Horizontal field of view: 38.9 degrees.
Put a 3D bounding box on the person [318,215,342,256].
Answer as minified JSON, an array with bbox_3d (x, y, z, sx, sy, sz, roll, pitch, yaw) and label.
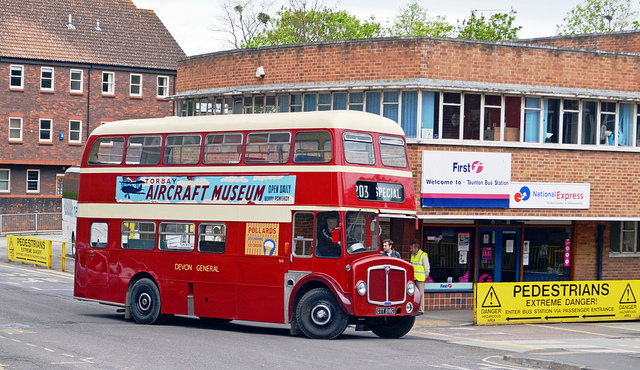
[{"bbox_3d":[0.348,1.953,34.834,0.958,1.518,0.217,4,7,24],"label":"person"}]

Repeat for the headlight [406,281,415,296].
[{"bbox_3d":[3.479,3.986,35.175,0.359,0.556,0.101,-3,8,-34],"label":"headlight"}]

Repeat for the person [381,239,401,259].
[{"bbox_3d":[2.748,2.573,35.960,0.619,0.744,1.755,2,5,7],"label":"person"}]

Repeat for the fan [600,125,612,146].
[{"bbox_3d":[13.321,-2.308,42.528,0.563,0.919,0.271,2,7,5],"label":"fan"}]
